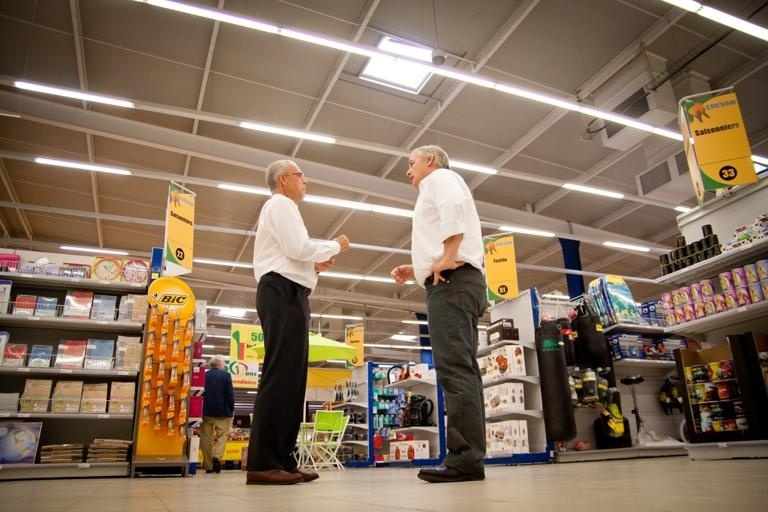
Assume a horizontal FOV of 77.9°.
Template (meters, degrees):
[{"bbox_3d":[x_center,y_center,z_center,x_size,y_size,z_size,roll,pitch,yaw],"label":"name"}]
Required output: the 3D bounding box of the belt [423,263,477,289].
[{"bbox_3d":[0.490,0.136,3.560,0.280,0.109,0.200,-14,2,-16],"label":"belt"}]

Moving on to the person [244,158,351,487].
[{"bbox_3d":[-0.706,0.322,3.832,0.716,2.755,0.525,6,-24,-14],"label":"person"}]

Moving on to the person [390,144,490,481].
[{"bbox_3d":[0.488,0.428,3.454,0.547,2.244,0.619,-2,-23,4],"label":"person"}]

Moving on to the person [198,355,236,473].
[{"bbox_3d":[-2.957,2.891,8.408,0.537,1.730,0.962,7,-24,-17],"label":"person"}]

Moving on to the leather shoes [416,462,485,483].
[{"bbox_3d":[0.459,1.505,3.338,0.447,0.172,0.155,6,-36,-5],"label":"leather shoes"}]
